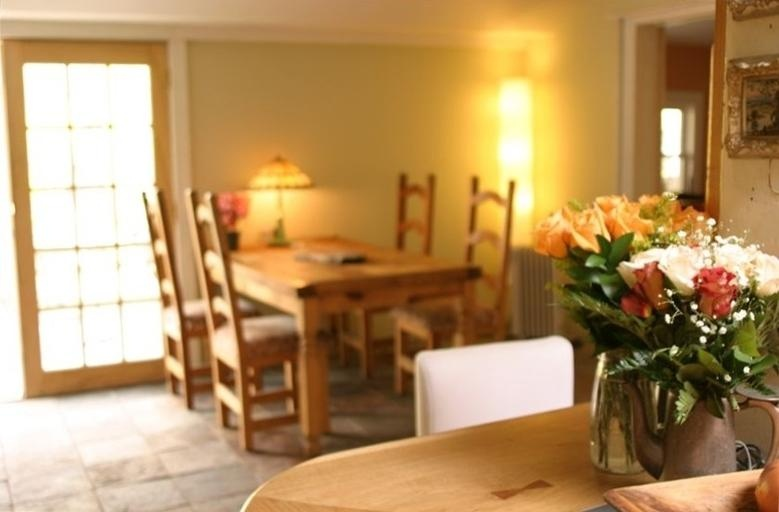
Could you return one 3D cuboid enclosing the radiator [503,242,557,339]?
[{"bbox_3d":[0.525,0.178,2.739,0.271,0.350,0.273,-4,-8,6],"label":"radiator"}]

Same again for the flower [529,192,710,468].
[{"bbox_3d":[0.488,0.073,1.466,0.260,0.393,0.255,-16,2,23],"label":"flower"}]

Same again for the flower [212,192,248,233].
[{"bbox_3d":[-0.503,-0.142,2.136,0.125,0.114,0.036,-6,11,-23],"label":"flower"}]

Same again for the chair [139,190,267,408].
[{"bbox_3d":[-0.709,0.147,2.172,0.149,0.752,0.106,-7,16,-15],"label":"chair"}]

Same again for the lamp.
[{"bbox_3d":[-0.394,-0.191,2.300,0.243,0.315,0.227,-10,18,-38],"label":"lamp"}]

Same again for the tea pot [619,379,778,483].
[{"bbox_3d":[0.624,0.358,1.338,0.278,0.173,0.168,-5,-5,13],"label":"tea pot"}]

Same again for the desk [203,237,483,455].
[{"bbox_3d":[-0.226,0.180,2.592,0.751,0.606,0.991,-3,8,-30],"label":"desk"}]

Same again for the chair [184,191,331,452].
[{"bbox_3d":[-0.457,0.287,2.388,0.353,0.763,0.316,-5,-7,-14],"label":"chair"}]
